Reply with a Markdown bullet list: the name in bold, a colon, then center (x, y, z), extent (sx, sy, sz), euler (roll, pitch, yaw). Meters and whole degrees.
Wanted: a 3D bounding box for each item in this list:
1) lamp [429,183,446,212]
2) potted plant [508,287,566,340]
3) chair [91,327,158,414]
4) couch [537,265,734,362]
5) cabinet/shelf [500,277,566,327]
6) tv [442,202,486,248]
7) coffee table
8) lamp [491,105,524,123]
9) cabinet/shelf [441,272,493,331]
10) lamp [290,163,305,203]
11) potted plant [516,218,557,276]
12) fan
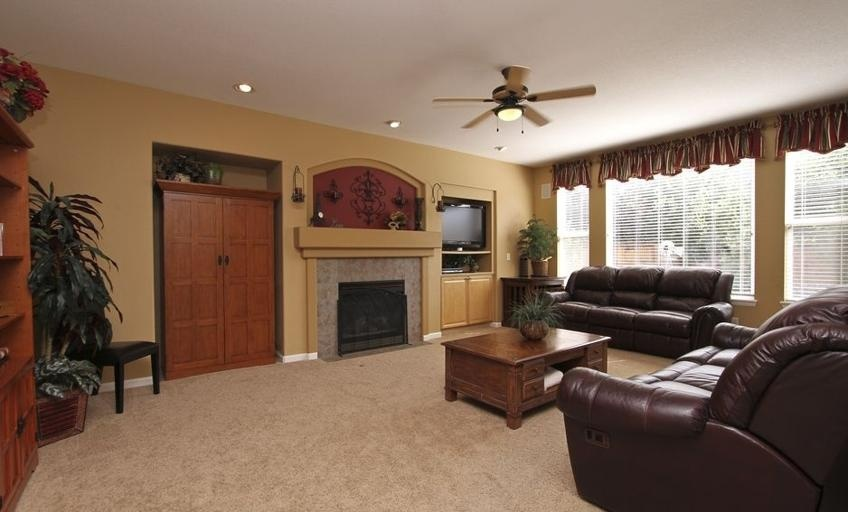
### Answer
- **lamp**: center (0.252, -0.947, 8.649), extent (0.130, 0.486, 0.260), euler (1, 4, 34)
- **potted plant**: center (1.305, 0.719, 6.231), extent (0.509, 0.485, 0.533), euler (-6, -15, 43)
- **chair**: center (-3.457, 1.293, 6.089), extent (0.795, 0.587, 0.765), euler (1, 7, -12)
- **couch**: center (3.140, 0.803, 8.117), extent (1.161, 1.191, 2.680), euler (-4, 4, -42)
- **cabinet/shelf**: center (2.015, 0.598, 9.416), extent (1.218, 1.062, 0.956), euler (-2, 2, -42)
- **tv**: center (0.655, -0.534, 9.151), extent (0.879, 0.605, 0.121), euler (-1, 2, -34)
- **coffee table**: center (0.922, 1.215, 5.877), extent (1.443, 0.543, 1.020), euler (-2, 1, -42)
- **lamp**: center (0.987, -1.627, 6.080), extent (0.299, 0.106, 0.287), euler (0, 2, 21)
- **cabinet/shelf**: center (0.615, 0.790, 9.204), extent (1.248, 0.942, 0.454), euler (-2, 2, -44)
- **lamp**: center (-1.736, -0.991, 7.351), extent (0.183, 0.529, 0.171), euler (-2, 4, -13)
- **potted plant**: center (2.053, -0.171, 9.582), extent (0.679, 1.042, 0.636), euler (1, 4, 40)
- **fan**: center (1.023, -1.871, 6.370), extent (1.503, 0.588, 1.604), euler (-1, 2, -2)
